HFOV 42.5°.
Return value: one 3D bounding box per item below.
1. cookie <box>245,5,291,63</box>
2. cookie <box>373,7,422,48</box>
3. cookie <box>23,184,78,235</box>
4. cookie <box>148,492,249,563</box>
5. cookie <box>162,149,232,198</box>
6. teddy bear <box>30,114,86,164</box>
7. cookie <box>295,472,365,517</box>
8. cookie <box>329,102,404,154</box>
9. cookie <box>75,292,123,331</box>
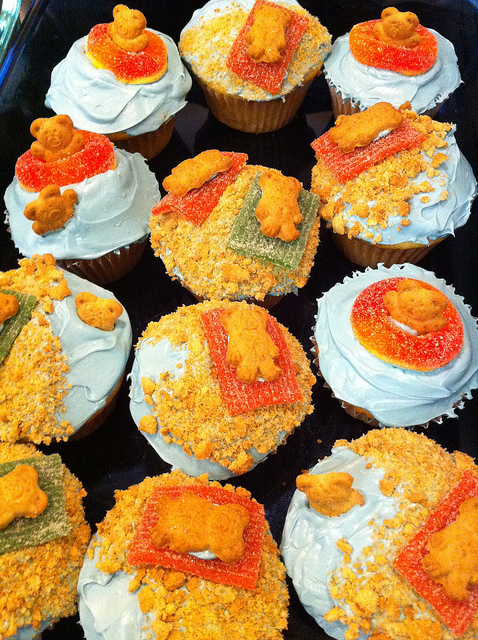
[{"bbox_3d":[0.224,-2.194,4.707,0.333,0.135,0.434,6,82,4],"label":"cookie"},{"bbox_3d":[1.233,-2.331,4.860,0.474,0.283,0.533,1,27,4],"label":"cookie"},{"bbox_3d":[-1.272,-0.778,4.184,0.347,0.166,0.309,-10,37,-12],"label":"cookie"},{"bbox_3d":[-0.200,1.074,3.174,0.480,0.240,0.328,2,43,12],"label":"cookie"},{"bbox_3d":[-0.300,-1.056,4.243,0.498,0.118,0.284,-39,57,-21],"label":"cookie"},{"bbox_3d":[-1.236,-1.232,4.151,0.367,0.321,0.125,-13,20,-12],"label":"teddy bear"},{"bbox_3d":[0.502,0.944,3.384,0.360,0.238,0.130,14,5,-5],"label":"cookie"},{"bbox_3d":[0.885,-1.387,4.353,0.461,0.219,0.296,-21,43,-13],"label":"cookie"},{"bbox_3d":[-0.913,-0.065,3.965,0.280,0.096,0.252,2,47,-30],"label":"cookie"}]
